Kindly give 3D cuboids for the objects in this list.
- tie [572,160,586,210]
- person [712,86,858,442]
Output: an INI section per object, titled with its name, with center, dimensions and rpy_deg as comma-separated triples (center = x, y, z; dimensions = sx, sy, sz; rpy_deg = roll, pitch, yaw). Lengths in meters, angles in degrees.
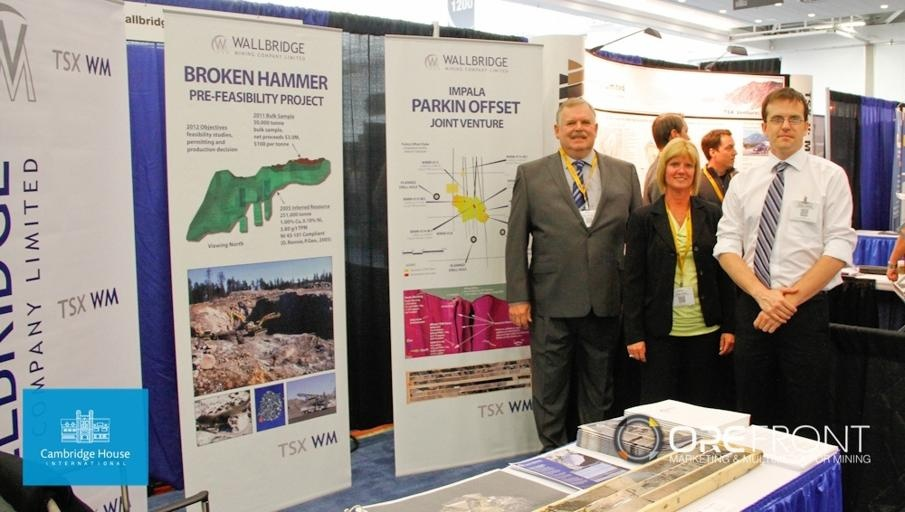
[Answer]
[tie]
center = 0.885, -0.505, 4.390
dimensions = 0.096, 0.302, 0.042
rpy_deg = 0, -3, 1
[person]
center = 1.990, 0.035, 3.864
dimensions = 0.749, 2.075, 0.411
rpy_deg = 0, 8, 32
